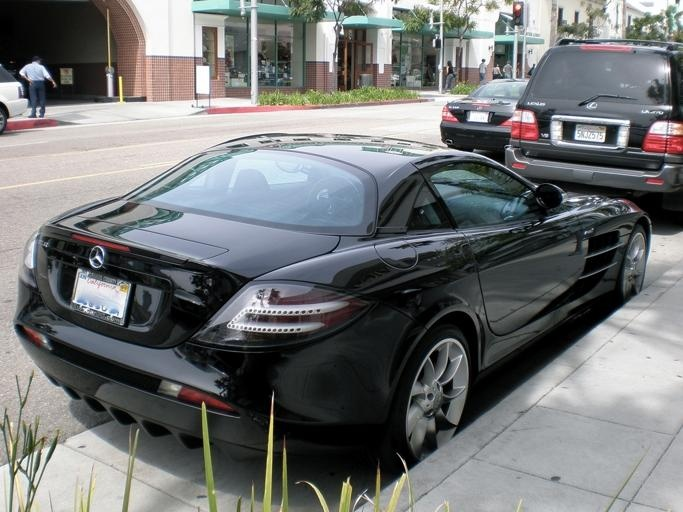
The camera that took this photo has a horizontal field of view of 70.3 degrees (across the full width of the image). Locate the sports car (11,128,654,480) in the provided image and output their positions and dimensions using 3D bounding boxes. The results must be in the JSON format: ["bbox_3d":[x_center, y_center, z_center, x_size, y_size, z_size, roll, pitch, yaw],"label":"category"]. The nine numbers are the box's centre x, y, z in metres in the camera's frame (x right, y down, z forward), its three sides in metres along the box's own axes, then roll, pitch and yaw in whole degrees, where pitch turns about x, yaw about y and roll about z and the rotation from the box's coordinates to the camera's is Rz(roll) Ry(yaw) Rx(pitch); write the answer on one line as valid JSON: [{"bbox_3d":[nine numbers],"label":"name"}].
[{"bbox_3d":[0.110,0.135,3.268,3.483,1.808,1.764,-12,18,-41],"label":"sports car"}]

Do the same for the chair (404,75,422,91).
[{"bbox_3d":[8.011,-19.137,53.639,0.817,1.413,2.919,10,16,33],"label":"chair"}]

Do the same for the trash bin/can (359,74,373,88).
[{"bbox_3d":[2.256,-16.130,44.837,1.412,1.144,0.638,-1,15,-6],"label":"trash bin/can"}]
